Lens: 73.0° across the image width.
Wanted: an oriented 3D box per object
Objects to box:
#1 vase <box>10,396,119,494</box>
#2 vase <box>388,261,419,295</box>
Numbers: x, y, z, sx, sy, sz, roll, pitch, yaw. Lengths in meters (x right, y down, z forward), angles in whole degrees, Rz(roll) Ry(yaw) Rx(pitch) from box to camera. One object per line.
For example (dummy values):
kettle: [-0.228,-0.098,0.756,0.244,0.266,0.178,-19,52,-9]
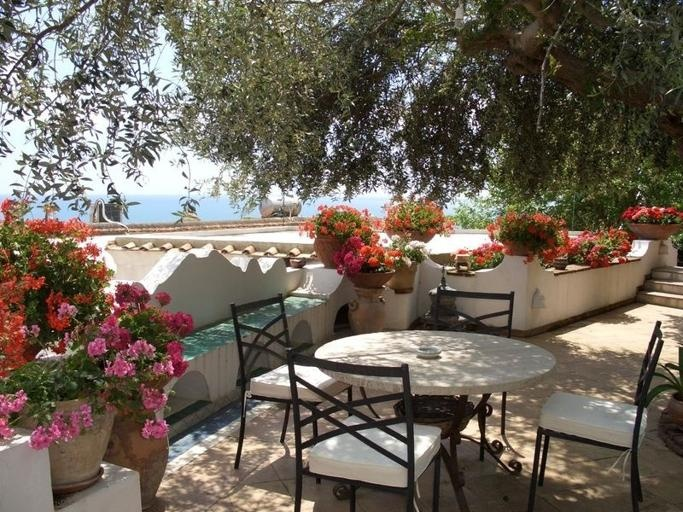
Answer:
vase: [-1.288,0.841,2.205,0.405,0.408,0.393,-1,3,-41]
vase: [0.884,0.315,6.877,0.494,0.412,0.429,0,-1,-19]
